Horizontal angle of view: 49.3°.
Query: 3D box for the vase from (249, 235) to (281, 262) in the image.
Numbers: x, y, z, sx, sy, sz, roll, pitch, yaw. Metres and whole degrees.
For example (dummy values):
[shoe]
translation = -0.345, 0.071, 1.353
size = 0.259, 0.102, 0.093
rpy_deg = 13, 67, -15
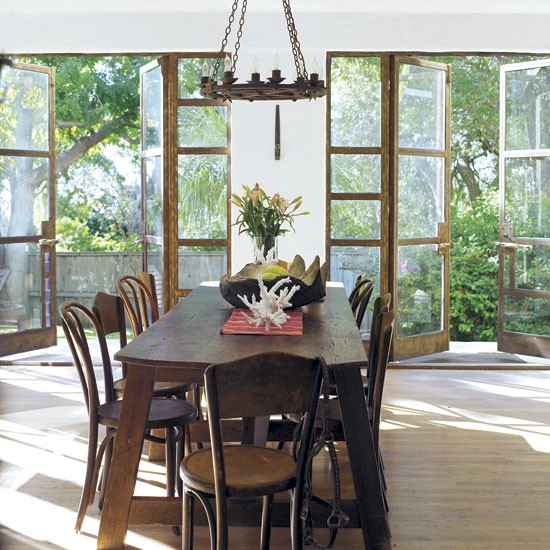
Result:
[vase]
translation = -0.048, -0.124, 3.083
size = 0.114, 0.153, 0.129
rpy_deg = 0, -4, 1
